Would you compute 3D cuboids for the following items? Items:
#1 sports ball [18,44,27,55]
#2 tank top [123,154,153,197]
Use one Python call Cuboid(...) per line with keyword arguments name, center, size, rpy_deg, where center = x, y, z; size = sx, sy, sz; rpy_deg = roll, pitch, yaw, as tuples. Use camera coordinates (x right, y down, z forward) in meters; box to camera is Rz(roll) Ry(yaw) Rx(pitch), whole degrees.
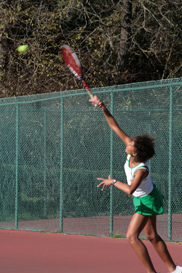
Cuboid(name="sports ball", center=(-2.352, -2.996, 11.818), size=(0.414, 0.299, 0.187), rpy_deg=(18, 39, 34))
Cuboid(name="tank top", center=(0.353, 0.303, 2.528), size=(0.198, 0.344, 0.393), rpy_deg=(-3, 31, 5))
